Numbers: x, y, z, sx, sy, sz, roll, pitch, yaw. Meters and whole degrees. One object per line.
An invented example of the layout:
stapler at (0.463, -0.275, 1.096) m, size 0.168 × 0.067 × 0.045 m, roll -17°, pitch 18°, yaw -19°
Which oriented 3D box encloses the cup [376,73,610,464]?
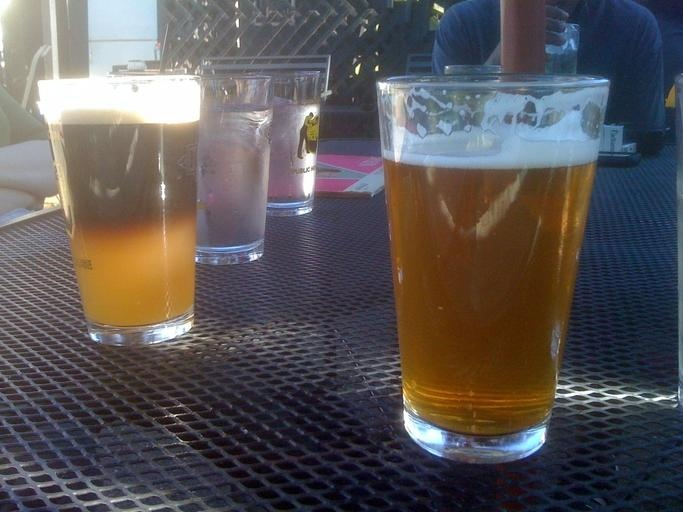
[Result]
cup at (0.089, 0.006, 0.370) m, size 0.138 × 0.226 × 0.125 m, roll 5°, pitch 25°, yaw 11°
